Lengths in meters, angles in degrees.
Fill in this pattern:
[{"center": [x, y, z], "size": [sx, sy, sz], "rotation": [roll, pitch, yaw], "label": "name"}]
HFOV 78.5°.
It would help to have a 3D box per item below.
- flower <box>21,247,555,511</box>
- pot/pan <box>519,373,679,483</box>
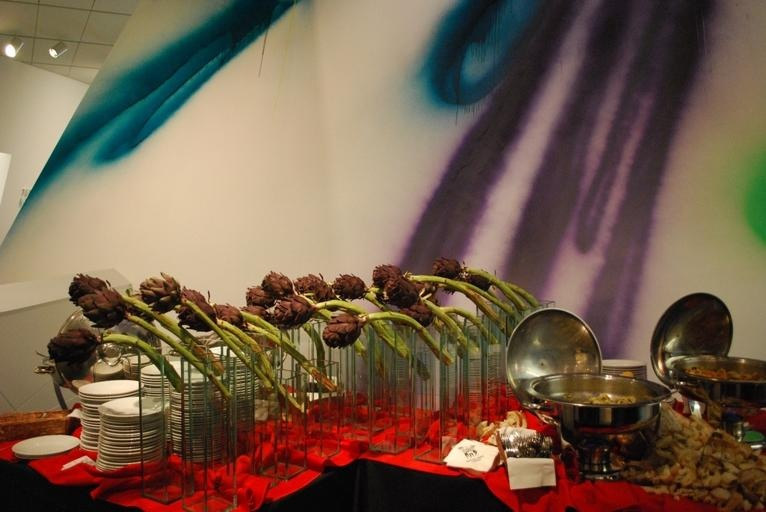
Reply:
[{"center": [0.113, 0.146, 2.168], "size": [2.710, 0.898, 0.767], "rotation": [-7, -15, -35], "label": "flower"}, {"center": [0.686, 0.503, 1.479], "size": [0.359, 0.212, 0.321], "rotation": [1, 4, 6], "label": "pot/pan"}]
